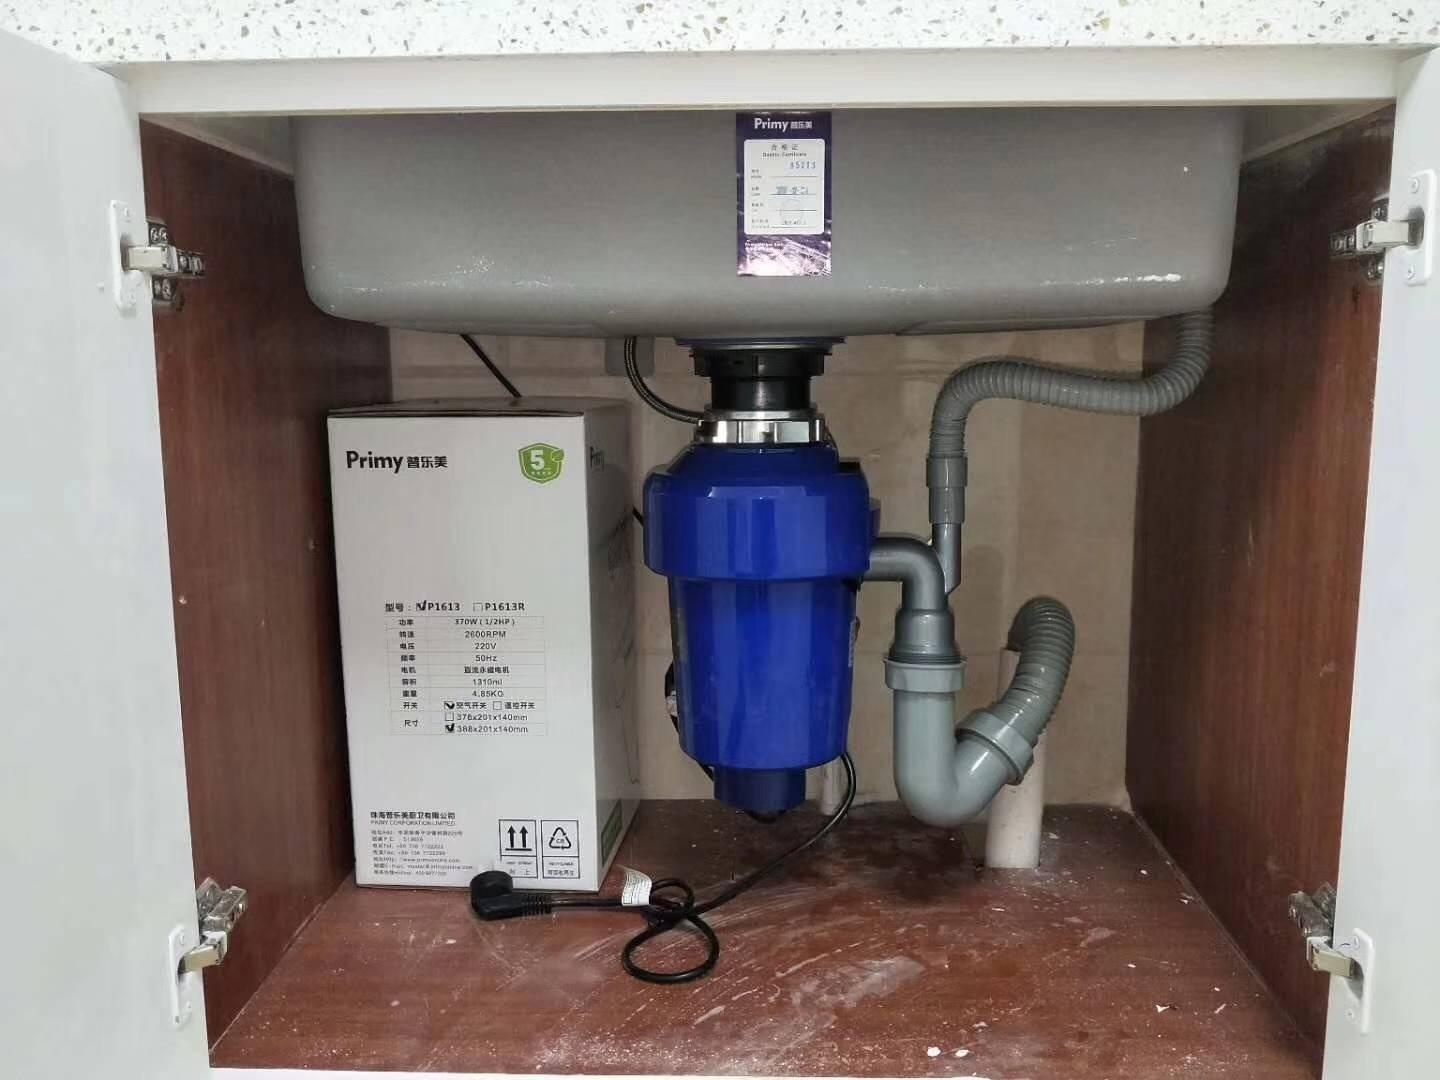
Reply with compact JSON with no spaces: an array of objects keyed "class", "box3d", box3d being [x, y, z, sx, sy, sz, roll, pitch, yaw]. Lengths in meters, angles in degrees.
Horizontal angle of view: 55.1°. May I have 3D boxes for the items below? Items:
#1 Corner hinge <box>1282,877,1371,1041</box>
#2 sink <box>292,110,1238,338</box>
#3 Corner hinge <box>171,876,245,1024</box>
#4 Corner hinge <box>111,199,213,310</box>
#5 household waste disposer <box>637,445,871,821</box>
[{"class":"Corner hinge","box3d":[0.487,0.321,1.103,0.034,0.091,0.121,-1,5,9]},{"class":"sink","box3d":[0.037,-0.260,1.139,0.770,0.176,0.105,-2,5,0]},{"class":"Corner hinge","box3d":[-0.417,0.325,1.133,0.026,0.086,0.131,-2,4,-6]},{"class":"Corner hinge","box3d":[-0.436,-0.212,1.081,0.048,0.079,0.148,-3,5,-13]},{"class":"household waste disposer","box3d":[0.052,0.084,1.339,0.210,0.337,0.222,1,4,20]}]
